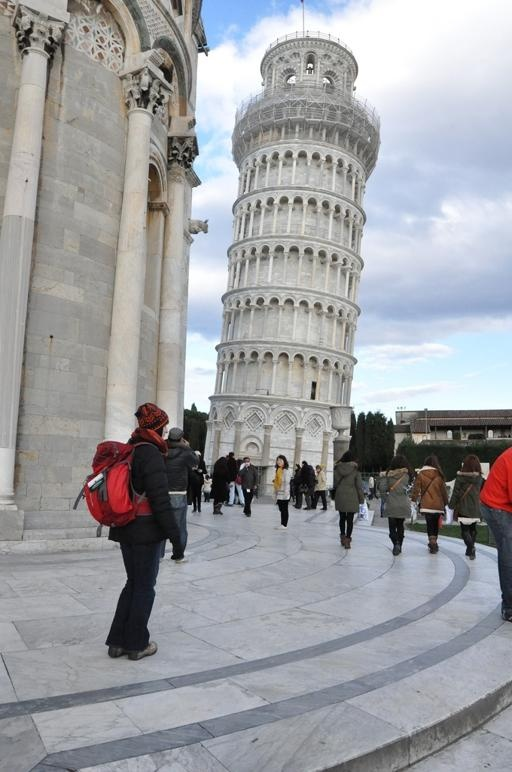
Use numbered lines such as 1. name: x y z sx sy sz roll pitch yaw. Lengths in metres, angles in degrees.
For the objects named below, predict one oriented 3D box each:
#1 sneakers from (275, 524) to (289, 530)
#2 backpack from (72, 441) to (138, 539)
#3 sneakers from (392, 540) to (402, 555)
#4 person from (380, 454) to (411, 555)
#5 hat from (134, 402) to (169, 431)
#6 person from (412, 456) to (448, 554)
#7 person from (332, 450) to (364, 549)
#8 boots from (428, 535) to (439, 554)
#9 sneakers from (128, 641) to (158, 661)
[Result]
1. sneakers: 0.593 3.178 13.588 0.372 0.148 0.131 11 -16 -26
2. backpack: -1.044 0.678 4.170 0.480 0.817 0.630 6 -9 -27
3. sneakers: 2.409 2.736 10.097 0.161 0.257 0.255 -1 -22 8
4. person: 2.440 2.062 10.515 0.468 1.647 1.409 2 -9 14
5. hat: -0.723 0.216 4.277 0.224 0.181 0.169 -11 6 -29
6. person: 3.075 2.080 10.605 0.607 1.670 0.822 1 -9 16
7. person: 1.702 2.077 11.124 0.565 1.716 1.181 2 -9 8
8. boots: 3.097 2.751 10.481 0.132 0.319 0.291 1 -9 14
9. sneakers: -0.751 1.753 3.973 0.067 0.083 0.199 20 11 23
